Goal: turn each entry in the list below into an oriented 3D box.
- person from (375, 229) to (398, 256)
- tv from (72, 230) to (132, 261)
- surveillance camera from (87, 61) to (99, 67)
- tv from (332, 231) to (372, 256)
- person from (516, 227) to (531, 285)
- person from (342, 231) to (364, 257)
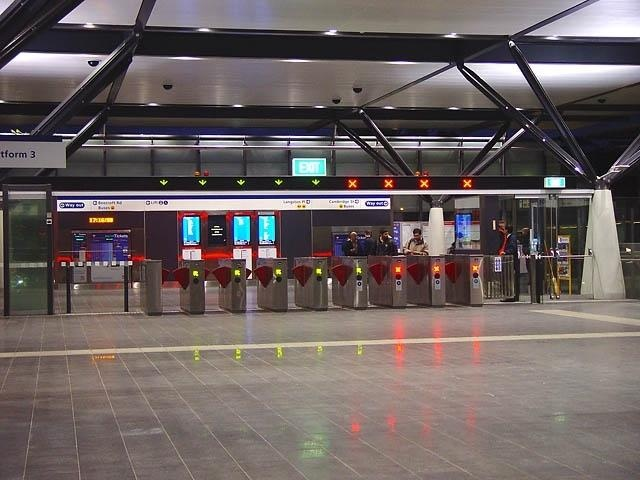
[{"bbox_3d":[2.130,0.086,21.770,0.416,1.304,0.867,3,-7,-18],"label":"person"},{"bbox_3d":[-7.947,0.195,23.827,2.032,1.098,0.352,-1,-3,-21],"label":"tv"},{"bbox_3d":[-5.438,-4.247,15.738,0.151,0.066,0.171,0,0,-10],"label":"surveillance camera"},{"bbox_3d":[1.061,0.147,23.217,0.960,0.651,0.488,1,-6,-11],"label":"tv"},{"bbox_3d":[5.618,0.493,18.133,0.317,1.567,0.314,-2,-3,17],"label":"person"},{"bbox_3d":[1.052,0.139,21.524,0.544,0.796,1.418,-2,-3,9],"label":"person"}]
